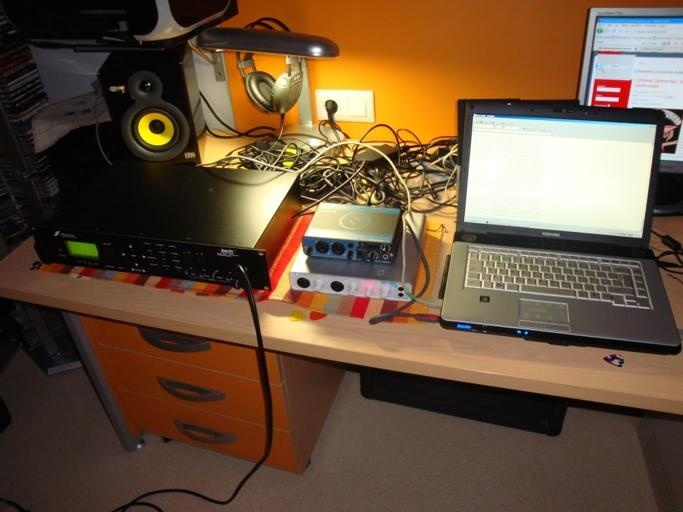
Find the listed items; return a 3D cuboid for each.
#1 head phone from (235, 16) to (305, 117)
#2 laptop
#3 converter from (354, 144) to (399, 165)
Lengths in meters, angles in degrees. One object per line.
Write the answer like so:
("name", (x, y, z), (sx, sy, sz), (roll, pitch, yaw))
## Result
("head phone", (-0.223, -0.585, 1.574), (0.206, 0.280, 0.103), (11, 30, 34))
("laptop", (0.530, -0.022, 1.342), (0.556, 0.395, 0.591), (9, 54, 14))
("converter", (0.113, -0.336, 1.675), (0.110, 0.030, 0.082), (0, 29, 2))
